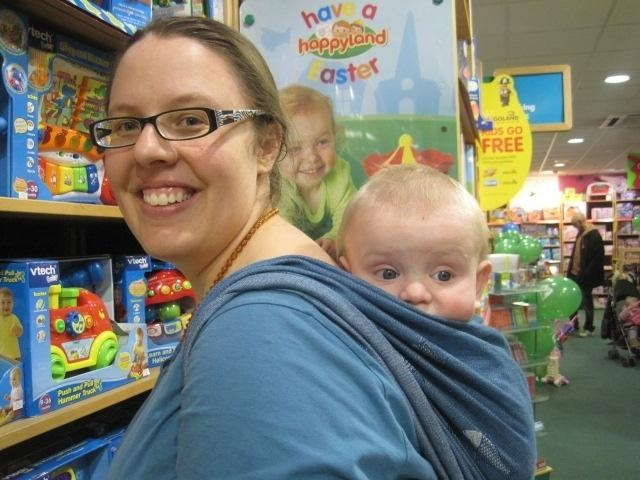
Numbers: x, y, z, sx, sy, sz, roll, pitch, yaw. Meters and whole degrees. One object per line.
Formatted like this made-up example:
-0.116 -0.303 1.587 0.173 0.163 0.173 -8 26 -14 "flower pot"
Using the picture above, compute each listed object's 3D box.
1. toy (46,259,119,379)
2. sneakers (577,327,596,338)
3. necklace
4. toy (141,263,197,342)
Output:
-0.701 0.250 1.691 0.240 0.277 0.311 -3 -6 7 "toy"
4.483 1.568 8.625 0.156 0.192 0.443 -7 -11 40 "sneakers"
-0.175 0.061 0.999 0.048 0.376 0.051 30 -32 3 "necklace"
-0.556 0.223 1.822 0.168 0.233 0.225 -22 51 -23 "toy"
